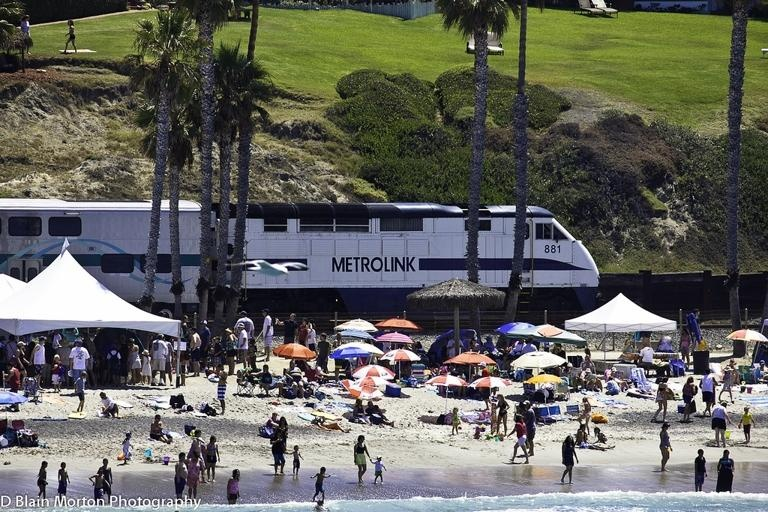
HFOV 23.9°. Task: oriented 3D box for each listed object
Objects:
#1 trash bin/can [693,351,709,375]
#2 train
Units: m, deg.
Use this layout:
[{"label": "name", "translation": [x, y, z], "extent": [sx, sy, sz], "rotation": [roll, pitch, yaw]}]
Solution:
[{"label": "trash bin/can", "translation": [20.333, 6.903, 116.339], "extent": [1.303, 1.532, 1.322], "rotation": [-2, 1, -19]}, {"label": "train", "translation": [-5.117, 0.214, 120.811], "extent": [37.709, 7.512, 0.908], "rotation": [0, 4, -8]}]
